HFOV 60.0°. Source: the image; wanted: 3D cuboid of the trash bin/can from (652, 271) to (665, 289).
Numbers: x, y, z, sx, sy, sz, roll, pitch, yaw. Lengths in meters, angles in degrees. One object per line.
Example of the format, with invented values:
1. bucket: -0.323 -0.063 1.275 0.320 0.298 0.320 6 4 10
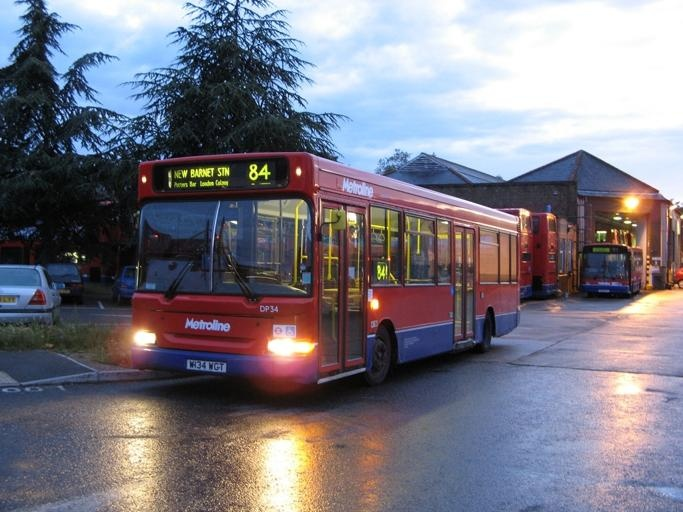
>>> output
1. trash bin/can: 33.827 2.319 62.597 1.763 2.171 0.873 1 0 -36
